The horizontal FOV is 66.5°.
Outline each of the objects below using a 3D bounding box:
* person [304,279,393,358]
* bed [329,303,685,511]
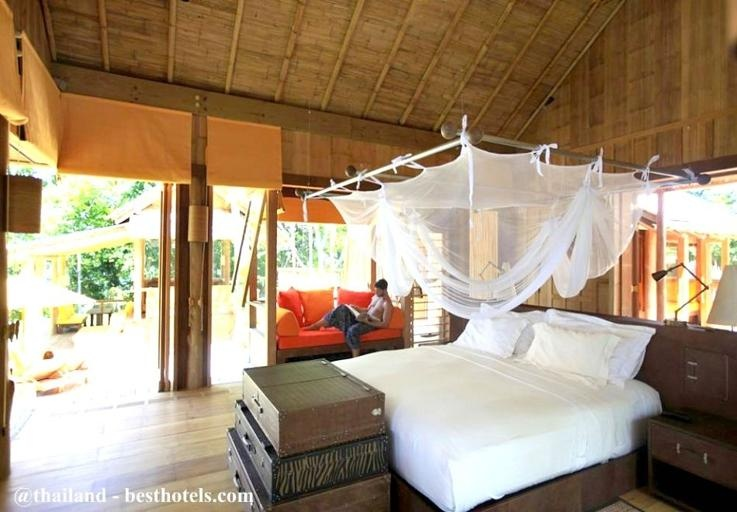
[{"bbox_3d":[-0.223,0.788,7.484,1.169,0.773,0.652,-7,25,-16],"label":"person"},{"bbox_3d":[1.227,1.293,5.529,2.771,1.341,1.952,-2,2,-21],"label":"bed"}]
